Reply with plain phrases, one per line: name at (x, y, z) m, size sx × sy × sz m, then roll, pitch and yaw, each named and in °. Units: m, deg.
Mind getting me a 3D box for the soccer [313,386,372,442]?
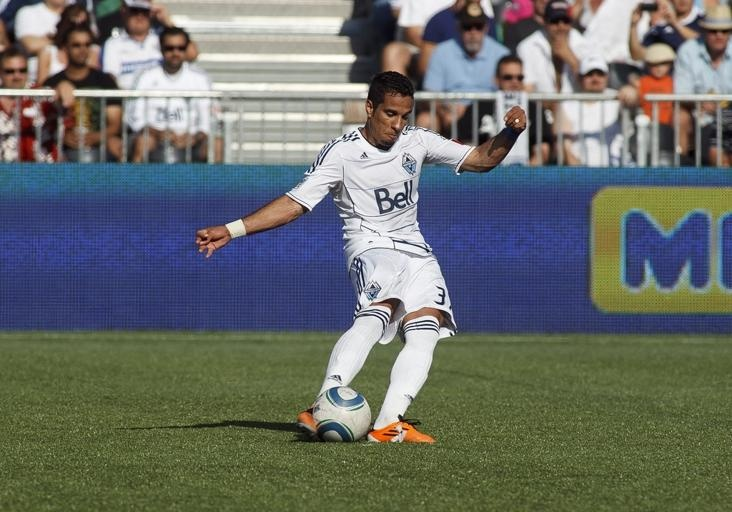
soccer at (-0.187, 1.174, 12.115) m, size 0.403 × 0.408 × 0.402 m, roll 17°, pitch 12°, yaw -8°
